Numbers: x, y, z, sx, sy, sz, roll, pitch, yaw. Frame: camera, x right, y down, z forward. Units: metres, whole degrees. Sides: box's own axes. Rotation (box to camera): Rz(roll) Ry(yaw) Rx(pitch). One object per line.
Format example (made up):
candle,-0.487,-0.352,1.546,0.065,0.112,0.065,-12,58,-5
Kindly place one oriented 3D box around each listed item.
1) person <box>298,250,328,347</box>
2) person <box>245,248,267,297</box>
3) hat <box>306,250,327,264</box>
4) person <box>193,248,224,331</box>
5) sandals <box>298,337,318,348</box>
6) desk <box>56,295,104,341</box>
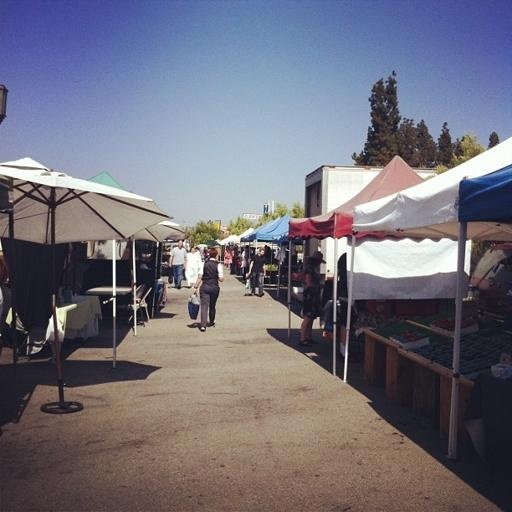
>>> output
person,1.072,0.831,9.572,0.401,1.833,0.657,1,1,5
person,0.040,0.760,19.785,0.584,2.300,0.549,7,-35,-6
hat,1.192,0.000,9.621,0.240,0.130,0.308,10,-15,32
person,-1.114,0.742,11.789,0.609,1.934,1.585,1,1,-6
sandals,1.039,1.713,9.871,0.397,0.217,0.145,-2,2,-1
desk,-3.182,1.163,8.958,0.527,0.662,0.941,0,6,-2
